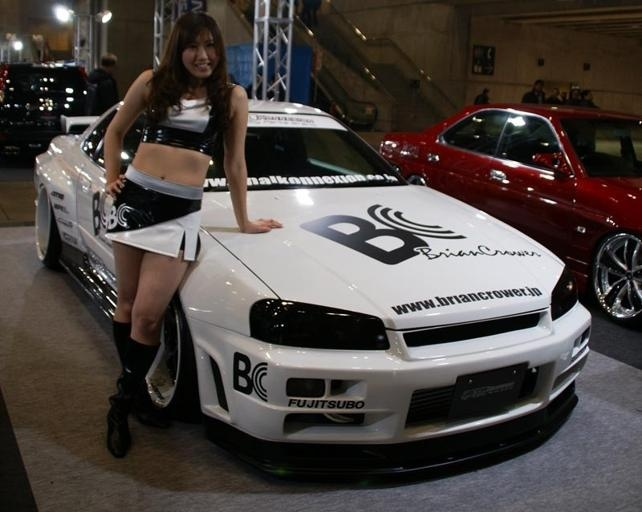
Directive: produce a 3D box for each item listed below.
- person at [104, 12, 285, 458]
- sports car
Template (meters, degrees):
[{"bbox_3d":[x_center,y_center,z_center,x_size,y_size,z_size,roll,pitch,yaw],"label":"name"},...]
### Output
[{"bbox_3d":[-0.648,-0.070,2.343,0.716,1.898,0.422,-2,13,-20],"label":"person"},{"bbox_3d":[-0.387,-0.128,3.038,1.664,1.020,3.142,-10,23,-32],"label":"sports car"}]
